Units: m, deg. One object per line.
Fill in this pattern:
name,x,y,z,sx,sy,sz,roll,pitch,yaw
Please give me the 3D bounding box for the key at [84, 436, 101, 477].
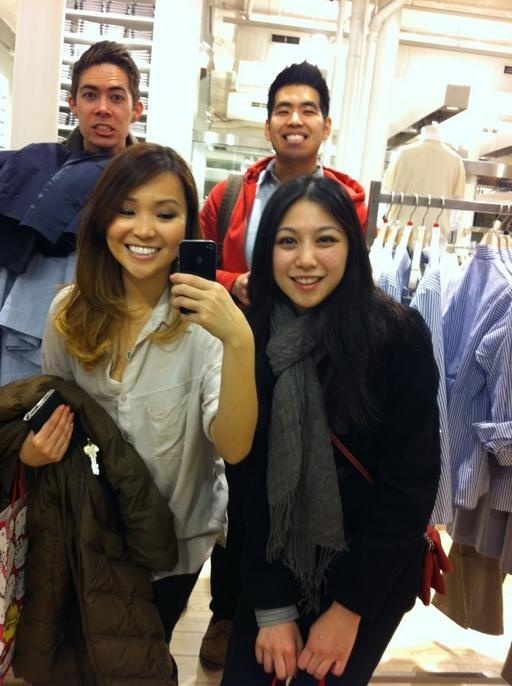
key,-0.358,0.260,1.128,0.030,0.059,0.043,-5,15,-40
